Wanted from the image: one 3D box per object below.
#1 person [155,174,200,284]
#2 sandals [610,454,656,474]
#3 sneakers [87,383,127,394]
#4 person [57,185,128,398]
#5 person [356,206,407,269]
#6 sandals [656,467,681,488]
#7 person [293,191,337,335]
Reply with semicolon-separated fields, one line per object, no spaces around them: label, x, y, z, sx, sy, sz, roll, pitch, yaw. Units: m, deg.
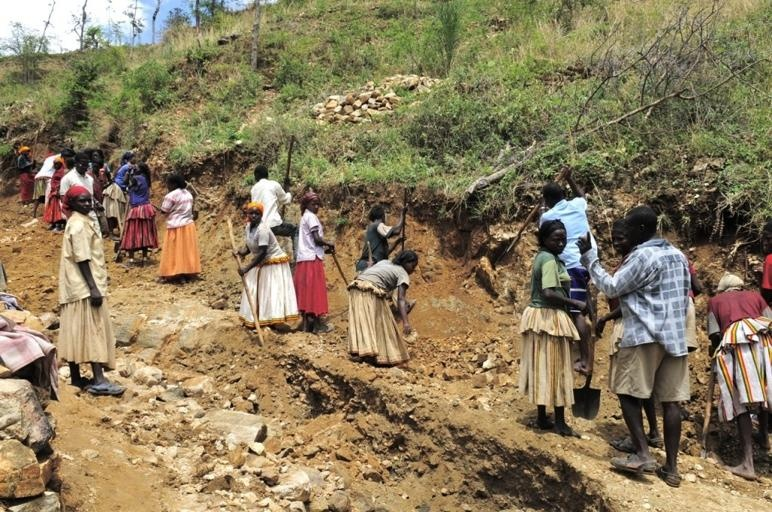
person;-4.378;-0.608;15.665;0.841;2.163;0.524;-2;1;-17
sandals;3.556;2.977;10.717;0.619;0.255;0.285;2;-12;16
sneakers;-4.476;2.140;11.891;0.445;0.132;0.232;0;2;-7
person;-4.741;0.580;11.779;0.877;3.369;0.485;-2;1;-23
person;-0.046;-0.340;14.232;0.684;1.522;0.698;-11;32;-39
sandals;4.007;3.124;10.631;0.181;0.157;0.369;32;-2;-22
person;-1.361;0.131;13.782;0.707;2.241;0.516;-2;1;-14
